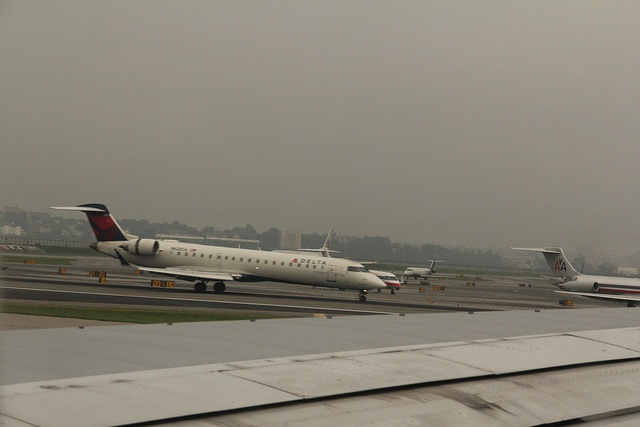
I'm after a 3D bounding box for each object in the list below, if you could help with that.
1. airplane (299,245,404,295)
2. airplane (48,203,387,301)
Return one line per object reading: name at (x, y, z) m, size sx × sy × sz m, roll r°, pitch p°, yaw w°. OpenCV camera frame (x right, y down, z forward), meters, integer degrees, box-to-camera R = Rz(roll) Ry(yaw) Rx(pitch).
airplane at (2.187, 3.685, 56.327) m, size 6.996 × 2.536 × 6.327 m, roll 1°, pitch 1°, yaw 26°
airplane at (-5.236, 1.900, 42.284) m, size 16.136 × 3.874 × 2.836 m, roll 3°, pitch -2°, yaw 19°
